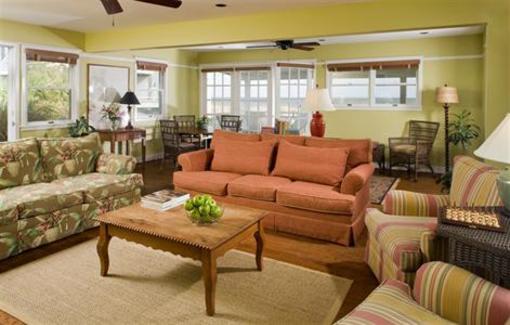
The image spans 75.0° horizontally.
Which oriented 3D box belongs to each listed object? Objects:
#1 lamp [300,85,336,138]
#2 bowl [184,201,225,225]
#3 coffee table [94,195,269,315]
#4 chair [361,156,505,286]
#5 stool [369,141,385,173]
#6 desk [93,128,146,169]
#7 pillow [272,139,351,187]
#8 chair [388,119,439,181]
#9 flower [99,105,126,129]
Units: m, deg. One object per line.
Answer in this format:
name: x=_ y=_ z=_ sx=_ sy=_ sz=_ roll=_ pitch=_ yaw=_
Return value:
lamp: x=0.969 y=-0.747 z=5.147 sx=0.554 sy=0.794 sz=0.558 roll=4 pitch=8 yaw=40
bowl: x=-0.506 y=0.498 z=3.341 sx=0.363 sy=0.214 sz=0.176 roll=-1 pitch=12 yaw=-10
coffee table: x=-0.757 y=0.890 z=3.674 sx=1.571 sy=0.634 sz=1.264 roll=8 pitch=10 yaw=35
chair: x=1.822 y=0.620 z=3.362 sx=1.321 sy=1.100 sz=1.180 roll=-9 pitch=11 yaw=-8
stool: x=2.951 y=-0.223 z=7.854 sx=0.402 sy=0.361 sz=0.363 roll=-12 pitch=14 yaw=14
desk: x=-3.001 y=-0.524 z=7.432 sx=0.908 sy=1.067 sz=1.224 roll=8 pitch=12 yaw=31
pillow: x=0.769 y=-0.013 z=4.746 sx=1.045 sy=0.420 sz=0.447 roll=9 pitch=34 yaw=31
chair: x=3.519 y=-0.304 z=7.398 sx=0.960 sy=1.118 sz=0.970 roll=-5 pitch=13 yaw=-4
flower: x=-3.043 y=-0.982 z=7.301 sx=0.623 sy=0.428 sz=0.602 roll=16 pitch=0 yaw=0
